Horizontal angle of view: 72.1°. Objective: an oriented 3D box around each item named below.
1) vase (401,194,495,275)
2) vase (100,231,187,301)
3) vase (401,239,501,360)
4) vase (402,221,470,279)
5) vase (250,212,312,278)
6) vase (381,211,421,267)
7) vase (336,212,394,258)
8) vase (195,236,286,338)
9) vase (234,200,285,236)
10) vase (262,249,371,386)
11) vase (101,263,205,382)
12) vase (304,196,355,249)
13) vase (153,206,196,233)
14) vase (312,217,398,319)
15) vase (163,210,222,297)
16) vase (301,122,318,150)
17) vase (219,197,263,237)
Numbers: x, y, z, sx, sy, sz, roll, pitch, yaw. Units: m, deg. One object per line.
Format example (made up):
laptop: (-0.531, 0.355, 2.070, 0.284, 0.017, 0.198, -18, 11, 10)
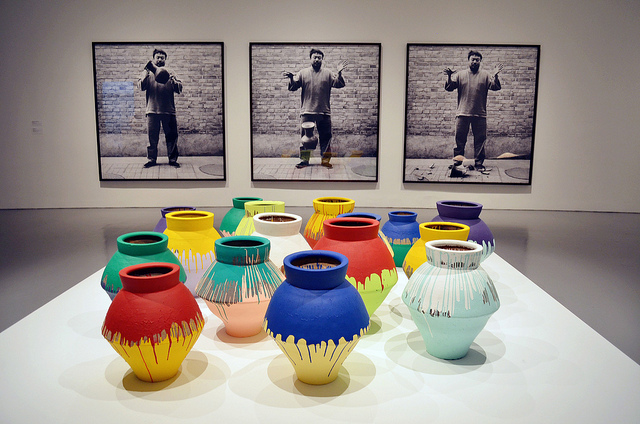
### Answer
vase: (1.211, 0.198, 4.135, 0.767, 0.839, 0.823, 1, 13, 10)
vase: (-1.367, 0.316, 3.450, 0.556, 0.550, 0.565, -1, 9, -10)
vase: (0.867, 0.641, 3.288, 0.755, 0.874, 0.775, 15, -11, 13)
vase: (0.918, 0.232, 3.561, 0.446, 0.464, 0.477, -3, 11, -2)
vase: (-0.367, 0.231, 3.679, 0.488, 0.487, 0.486, -4, 16, -22)
vase: (0.733, 0.246, 4.358, 0.454, 0.449, 0.449, -3, 11, -2)
vase: (0.403, 0.148, 3.910, 0.445, 0.445, 0.455, 0, 4, 3)
vase: (-0.587, 0.564, 3.346, 0.695, 0.703, 0.705, -4, 9, -34)
vase: (-0.559, 0.025, 4.092, 0.344, 0.344, 0.355, 5, 12, 22)
vase: (-0.029, 0.712, 2.978, 0.703, 0.780, 0.757, 0, 10, -8)
vase: (-1.128, 0.738, 2.983, 0.656, 0.736, 0.681, 0, 13, -4)
vase: (0.068, 0.042, 4.211, 0.463, 0.459, 0.477, 3, 13, 12)
vase: (-1.457, 0.037, 4.340, 0.301, 0.295, 0.299, -2, 8, -26)
vase: (0.270, 0.333, 3.566, 0.678, 0.745, 0.706, 6, 11, 23)
vase: (-1.017, 0.346, 3.938, 0.622, 0.718, 0.651, 0, 7, -1)
vase: (-0.186, -1.443, 8.110, 0.381, 0.648, 0.390, 1, 27, 6)
vase: (-0.806, 0.088, 4.539, 0.448, 0.452, 0.444, 3, 6, -5)
